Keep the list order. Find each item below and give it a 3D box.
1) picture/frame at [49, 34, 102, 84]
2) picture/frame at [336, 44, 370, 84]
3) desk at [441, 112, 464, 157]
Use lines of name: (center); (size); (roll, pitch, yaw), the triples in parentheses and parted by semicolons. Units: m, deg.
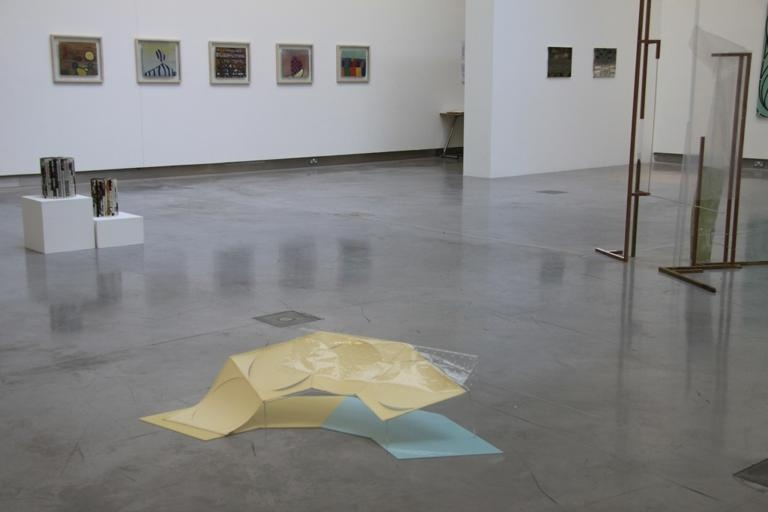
picture/frame: (-5.882, -3.750, 9.747); (1.022, 0.940, 0.104); (-4, 4, -40)
picture/frame: (-0.763, -4.813, 12.839); (0.832, 0.790, 0.078); (4, 14, 9)
desk: (2.017, -3.512, 15.026); (0.888, 1.233, 1.296); (7, 15, 6)
